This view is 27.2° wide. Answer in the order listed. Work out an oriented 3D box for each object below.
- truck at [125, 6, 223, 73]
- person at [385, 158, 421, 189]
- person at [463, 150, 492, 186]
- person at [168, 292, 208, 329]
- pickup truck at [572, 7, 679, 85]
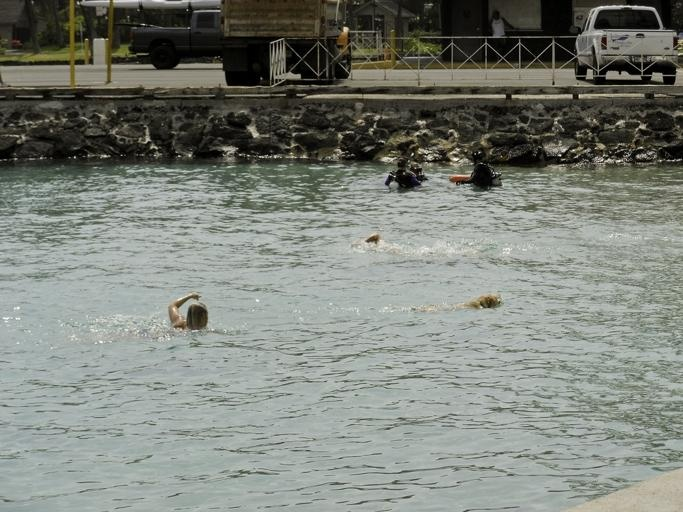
[{"bbox_3d":[-6.197,-8.349,54.719,5.036,1.576,2.296,-1,9,6],"label":"truck"},{"bbox_3d":[1.601,-2.152,37.449,0.896,0.736,0.716,0,7,13],"label":"person"},{"bbox_3d":[3.435,-2.332,37.835,0.561,1.059,0.965,-20,-12,20],"label":"person"},{"bbox_3d":[-2.947,1.034,26.883,0.765,0.710,0.424,2,8,25],"label":"person"},{"bbox_3d":[8.749,-6.558,43.678,2.298,1.298,3.446,-1,14,-5],"label":"pickup truck"}]
